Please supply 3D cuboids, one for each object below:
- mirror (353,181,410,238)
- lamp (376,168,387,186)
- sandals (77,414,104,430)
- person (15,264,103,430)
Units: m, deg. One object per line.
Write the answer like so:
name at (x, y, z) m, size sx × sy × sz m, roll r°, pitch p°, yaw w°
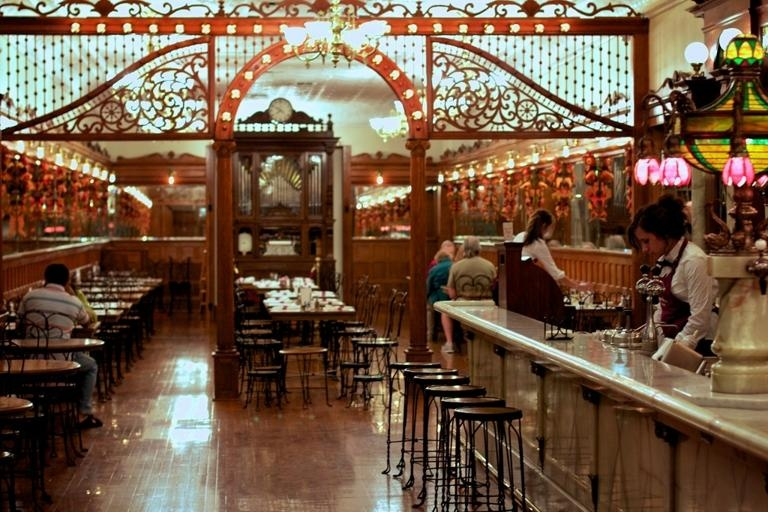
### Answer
mirror at (-0.014, -1.139, 19.435) m, size 1.230 × 1.345 × 0.445 m, roll 2°, pitch -1°, yaw 5°
lamp at (-0.070, -1.902, 18.580) m, size 0.241 × 0.609 × 0.289 m, roll -1°, pitch 0°, yaw -1°
sandals at (-3.337, 1.889, 8.695) m, size 0.219 × 0.067 × 0.214 m, roll 1°, pitch 7°, yaw -18°
person at (-3.790, 1.001, 9.145) m, size 0.981 × 1.847 × 1.027 m, roll 6°, pitch -4°, yaw -33°
